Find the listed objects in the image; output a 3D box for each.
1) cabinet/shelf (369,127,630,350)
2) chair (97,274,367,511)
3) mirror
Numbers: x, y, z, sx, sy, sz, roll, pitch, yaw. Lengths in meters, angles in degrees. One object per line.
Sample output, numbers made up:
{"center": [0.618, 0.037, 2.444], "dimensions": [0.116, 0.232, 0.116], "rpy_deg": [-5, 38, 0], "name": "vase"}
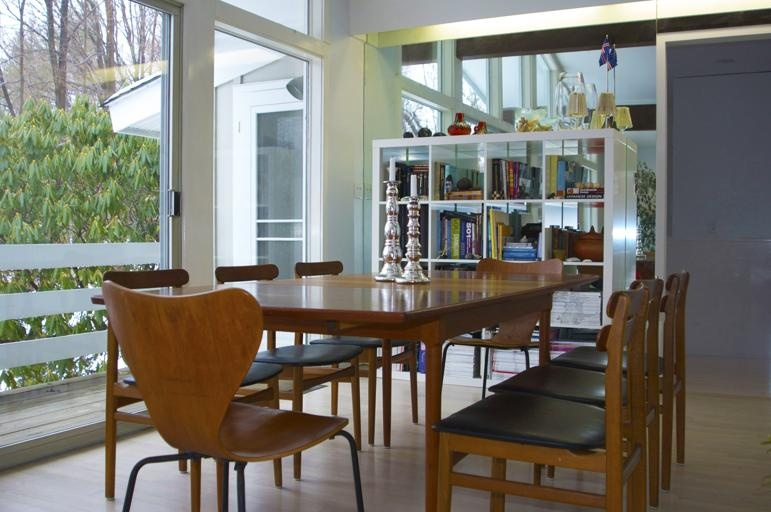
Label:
{"center": [0.922, -0.148, 4.442], "dimensions": [1.827, 1.373, 0.631], "rpy_deg": [-1, -2, 33], "name": "cabinet/shelf"}
{"center": [-0.585, 0.519, 2.322], "dimensions": [0.799, 0.902, 0.468], "rpy_deg": [-4, 5, -19], "name": "chair"}
{"center": [1.152, -0.905, 5.228], "dimensions": [2.342, 2.316, 0.796], "rpy_deg": [0, -2, 26], "name": "mirror"}
